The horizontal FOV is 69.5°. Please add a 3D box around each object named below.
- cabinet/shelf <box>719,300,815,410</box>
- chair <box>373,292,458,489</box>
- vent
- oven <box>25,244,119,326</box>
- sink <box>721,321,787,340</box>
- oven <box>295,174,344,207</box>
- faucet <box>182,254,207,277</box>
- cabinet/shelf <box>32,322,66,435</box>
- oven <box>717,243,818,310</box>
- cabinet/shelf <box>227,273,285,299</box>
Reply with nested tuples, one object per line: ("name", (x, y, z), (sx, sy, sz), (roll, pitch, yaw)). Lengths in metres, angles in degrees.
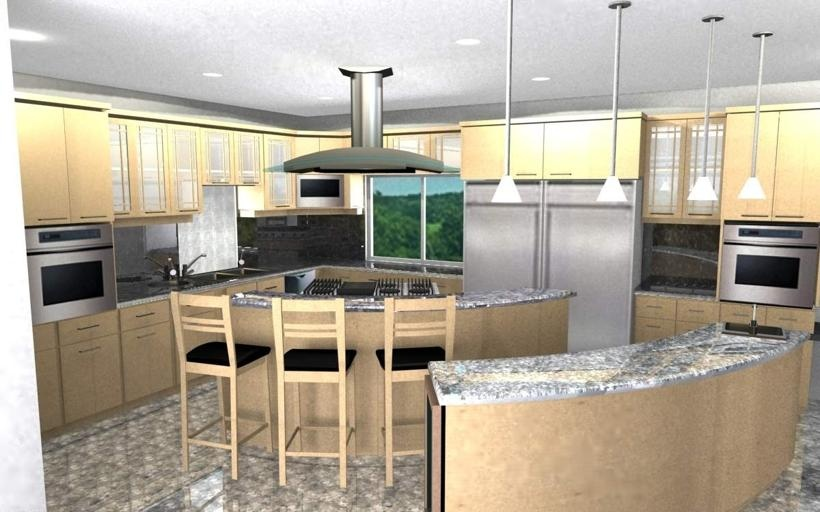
("cabinet/shelf", (3.809, 1.040, 6.313), (0.902, 1.044, 0.314), (2, 9, 20))
("chair", (0.056, 1.115, 5.100), (0.673, 1.611, 0.645), (-1, 8, 0))
("vent", (-0.424, -1.396, 6.044), (1.832, 0.992, 1.658), (-3, 13, -17))
("oven", (-3.522, 0.223, 5.781), (0.575, 0.758, 1.039), (-1, 4, 13))
("sink", (2.787, 0.611, 4.791), (0.331, 0.084, 0.230), (0, 1, 26))
("oven", (-1.185, -0.916, 8.300), (0.755, 0.430, 0.364), (2, 3, 17))
("faucet", (-2.673, 0.118, 7.274), (0.214, 0.105, 0.297), (12, 30, 25))
("cabinet/shelf", (-3.397, 1.157, 5.568), (0.248, 1.031, 0.111), (-9, 12, -42))
("oven", (3.791, 0.182, 6.347), (1.256, 0.745, 0.638), (2, 2, 25))
("cabinet/shelf", (-1.794, 0.354, 7.312), (0.290, 0.299, 0.503), (1, 4, 21))
